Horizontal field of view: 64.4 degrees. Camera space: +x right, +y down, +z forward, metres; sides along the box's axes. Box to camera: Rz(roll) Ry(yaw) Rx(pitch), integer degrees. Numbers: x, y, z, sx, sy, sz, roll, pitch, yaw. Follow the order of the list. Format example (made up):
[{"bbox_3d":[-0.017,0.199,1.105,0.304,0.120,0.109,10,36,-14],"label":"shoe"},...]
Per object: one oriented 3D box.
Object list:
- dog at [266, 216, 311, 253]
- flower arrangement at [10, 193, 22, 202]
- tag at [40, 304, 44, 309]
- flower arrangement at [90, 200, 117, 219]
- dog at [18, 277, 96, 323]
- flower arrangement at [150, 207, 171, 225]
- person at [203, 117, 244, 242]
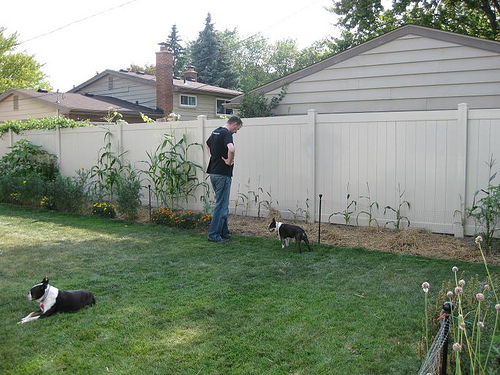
[{"bbox_3d":[0.615,0.743,6.654,0.597,0.474,1.099,-2,8,-8],"label":"dog"},{"bbox_3d":[-6.602,0.243,11.232,0.259,0.199,0.234,-2,7,10],"label":"flower arrangement"},{"bbox_3d":[-2.184,1.249,4.174,0.039,0.042,0.009,4,-2,15],"label":"tag"},{"bbox_3d":[-3.408,0.526,9.411,0.396,0.325,0.449,0,-1,6],"label":"flower arrangement"},{"bbox_3d":[-2.043,1.202,4.306,0.772,0.470,0.259,8,-9,-40],"label":"dog"},{"bbox_3d":[-1.851,0.634,8.425,0.606,0.254,0.326,7,12,44],"label":"flower arrangement"},{"bbox_3d":[-0.490,-0.159,7.092,0.610,2.147,0.722,-1,8,-3],"label":"person"}]
